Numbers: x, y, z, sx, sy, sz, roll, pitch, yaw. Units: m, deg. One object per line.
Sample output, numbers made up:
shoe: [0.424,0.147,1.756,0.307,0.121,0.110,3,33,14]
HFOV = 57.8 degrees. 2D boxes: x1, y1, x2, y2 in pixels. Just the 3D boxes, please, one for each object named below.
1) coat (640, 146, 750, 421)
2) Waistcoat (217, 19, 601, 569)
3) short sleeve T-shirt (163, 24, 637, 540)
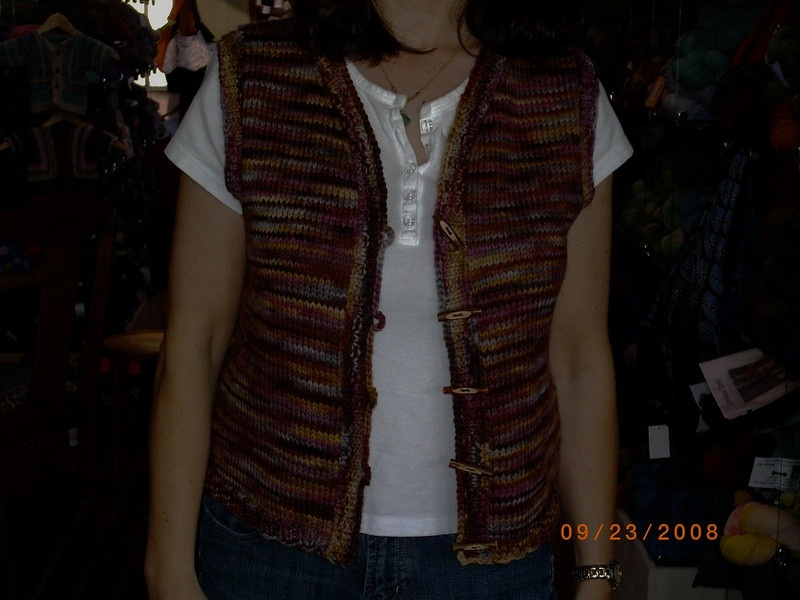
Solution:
coat: [0.977,-0.078,2.367,0.300,0.659,0.465,6,51,14]
Waistcoat: [-0.018,-0.024,1.404,0.715,0.693,0.898,7,52,15]
short sleeve T-shirt: [-0.020,-0.026,1.357,0.882,0.200,1.223,-1,91,-15]
